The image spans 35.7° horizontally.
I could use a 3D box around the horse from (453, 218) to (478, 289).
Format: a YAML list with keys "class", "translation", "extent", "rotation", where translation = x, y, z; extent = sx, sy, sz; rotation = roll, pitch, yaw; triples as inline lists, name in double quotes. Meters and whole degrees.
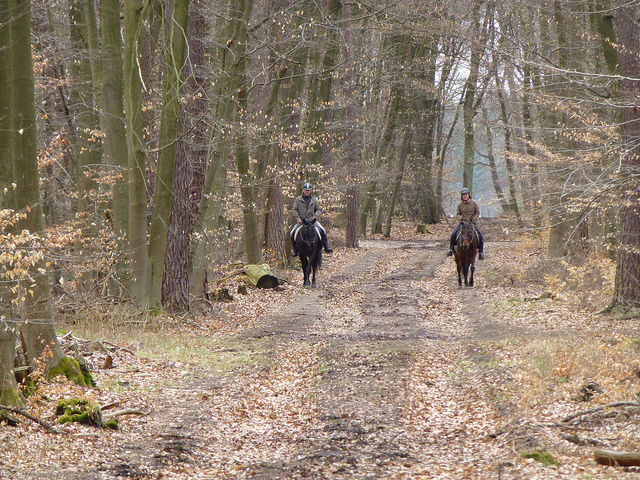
- class: "horse"
  translation: [4.803, 0.398, 32.751]
  extent: [0.784, 2.340, 1.445]
  rotation: [0, 12, 8]

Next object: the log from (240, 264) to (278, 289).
- class: "log"
  translation: [-1.915, 1.180, 31.915]
  extent: [0.774, 0.596, 1.194]
  rotation: [-9, 14, -32]

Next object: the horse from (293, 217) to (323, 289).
- class: "horse"
  translation: [-0.357, 0.424, 32.290]
  extent: [0.943, 2.361, 1.129]
  rotation: [-2, 11, -2]
